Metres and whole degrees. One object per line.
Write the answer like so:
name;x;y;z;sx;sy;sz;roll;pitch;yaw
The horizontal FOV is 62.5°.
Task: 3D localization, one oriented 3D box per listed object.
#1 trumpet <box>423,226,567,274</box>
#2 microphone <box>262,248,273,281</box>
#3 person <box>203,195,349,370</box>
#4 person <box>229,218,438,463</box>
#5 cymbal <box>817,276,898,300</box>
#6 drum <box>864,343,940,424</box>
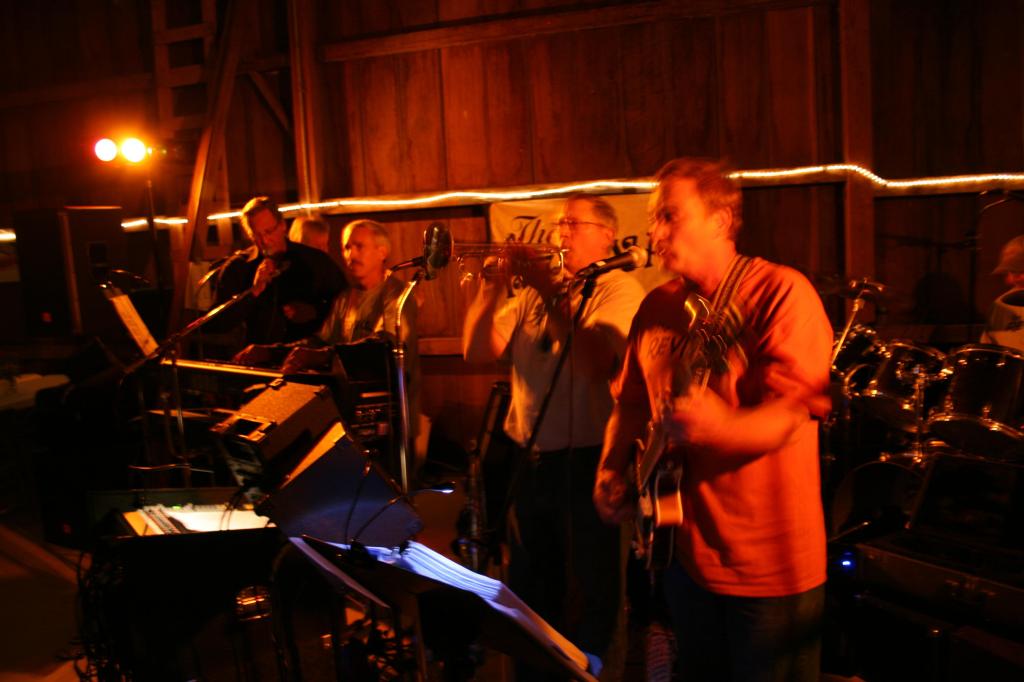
trumpet;-0.079;-0.507;5.083;0.944;0.343;0.324;2;26;-12
microphone;-1.772;-0.577;5.912;0.081;0.239;0.182;-1;-18;-4
person;-1.860;-0.489;6.730;1.013;1.412;0.992;2;19;-13
person;-0.957;0.094;6.158;0.835;1.933;1.029;-6;9;-20
cymbal;2.529;-0.397;6.326;0.276;0.066;0.281;11;25;-2
drum;2.897;0.318;6.224;0.442;0.439;0.438;40;-18;-21
